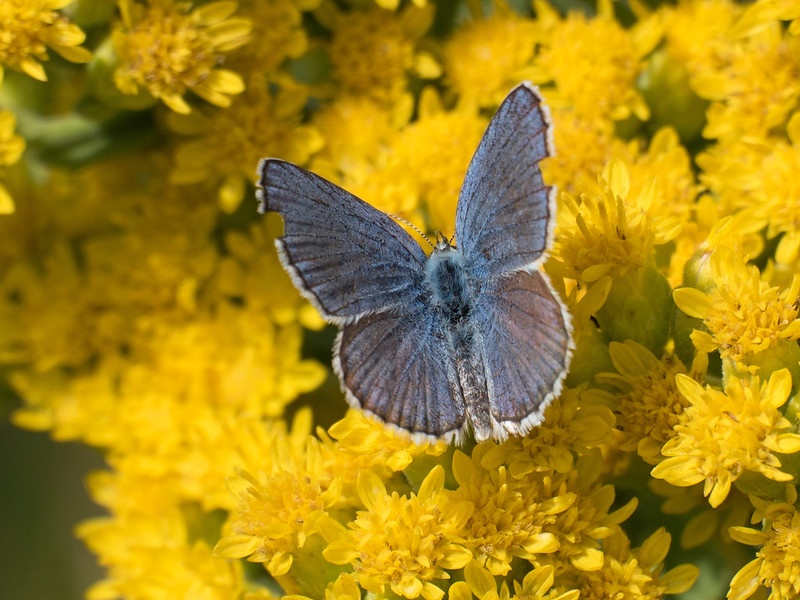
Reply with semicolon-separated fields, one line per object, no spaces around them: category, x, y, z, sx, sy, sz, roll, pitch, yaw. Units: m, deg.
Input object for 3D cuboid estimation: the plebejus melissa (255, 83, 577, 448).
plebejus melissa;0.027;-0.010;1.320;0.329;0.174;0.359;-11;82;3
